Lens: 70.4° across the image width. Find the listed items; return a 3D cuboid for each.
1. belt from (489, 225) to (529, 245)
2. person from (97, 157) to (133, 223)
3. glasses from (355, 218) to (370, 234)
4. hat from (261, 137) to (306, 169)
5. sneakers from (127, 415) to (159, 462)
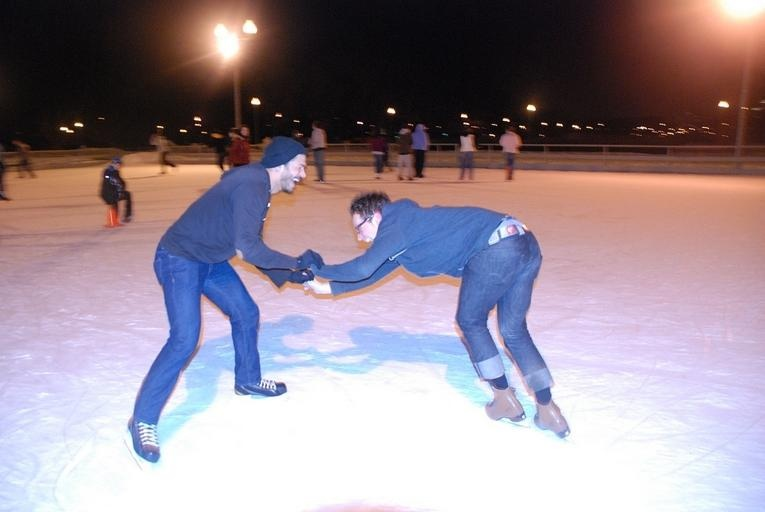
[{"bbox_3d":[0.921,-0.172,3.925,0.339,0.143,0.090,-8,16,-32],"label":"belt"},{"bbox_3d":[-5.561,-1.392,11.453,0.690,1.311,0.579,0,8,-22],"label":"person"},{"bbox_3d":[-0.145,-0.236,3.951,0.102,0.029,0.097,-37,3,-31],"label":"glasses"},{"bbox_3d":[-0.734,-0.772,3.996,0.268,0.143,0.264,-31,18,-32],"label":"hat"},{"bbox_3d":[-1.672,1.306,3.869,0.151,0.270,0.275,-7,15,-28],"label":"sneakers"}]
